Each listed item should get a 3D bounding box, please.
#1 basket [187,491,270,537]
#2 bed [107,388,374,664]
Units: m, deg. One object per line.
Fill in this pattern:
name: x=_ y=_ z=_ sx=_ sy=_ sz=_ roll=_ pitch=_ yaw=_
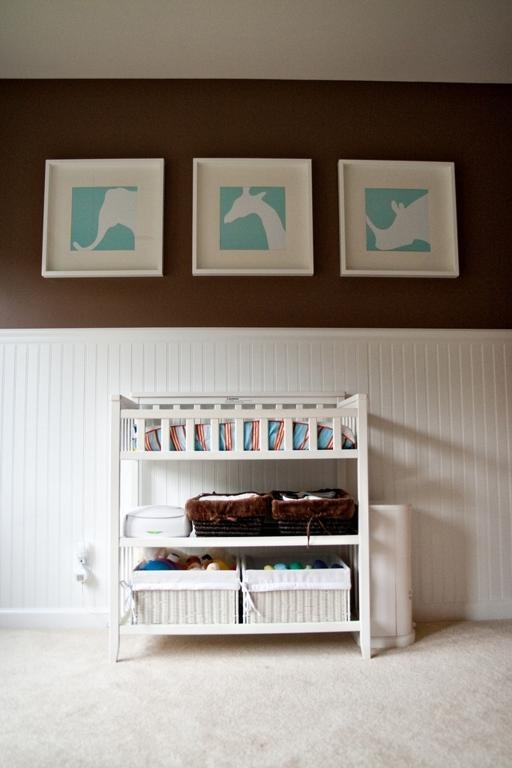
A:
basket: x=-0.099 y=0.510 z=2.627 sx=0.325 sy=0.163 sz=0.354 roll=0 pitch=-3 yaw=1
bed: x=0.019 y=0.639 z=2.775 sx=1.208 sy=1.247 sz=0.779 roll=2 pitch=1 yaw=-12
